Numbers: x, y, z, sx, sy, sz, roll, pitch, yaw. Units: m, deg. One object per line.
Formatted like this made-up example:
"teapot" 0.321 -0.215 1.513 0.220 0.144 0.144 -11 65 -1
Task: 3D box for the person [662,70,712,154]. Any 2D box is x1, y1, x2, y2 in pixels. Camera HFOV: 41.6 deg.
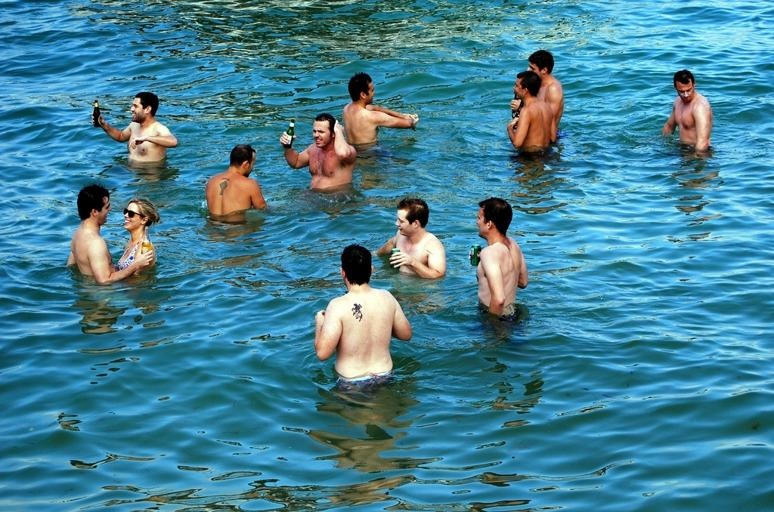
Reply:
"person" 6.452 -3.092 21.587 0.704 1.658 1.150 -5 25 -6

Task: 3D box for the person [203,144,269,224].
"person" -2.884 -1.390 19.254 1.101 1.358 0.633 -6 26 -8

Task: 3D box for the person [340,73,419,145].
"person" -0.170 -3.273 23.092 1.649 2.570 0.829 -18 61 -19

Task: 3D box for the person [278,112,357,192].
"person" -1.298 -2.061 20.153 1.310 1.550 0.574 -1 26 1

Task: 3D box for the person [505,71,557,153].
"person" 3.039 -3.031 21.617 0.724 1.664 1.011 15 30 31
